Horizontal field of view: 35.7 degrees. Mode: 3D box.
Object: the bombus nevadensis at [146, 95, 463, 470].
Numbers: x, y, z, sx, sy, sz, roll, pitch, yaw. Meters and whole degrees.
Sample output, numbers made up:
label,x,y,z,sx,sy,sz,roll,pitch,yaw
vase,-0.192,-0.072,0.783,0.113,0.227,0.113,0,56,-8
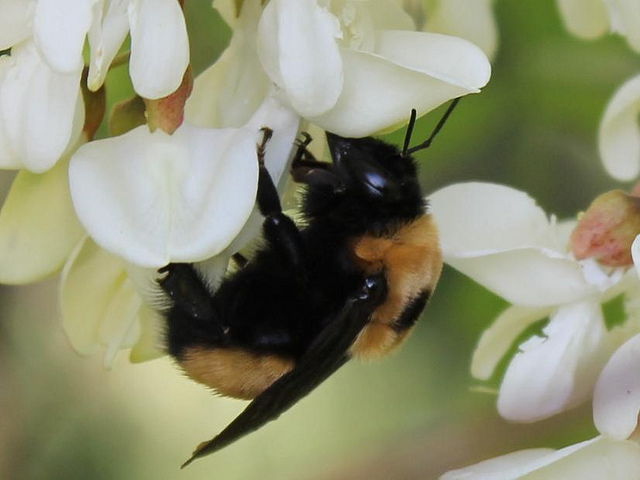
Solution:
label,x,y,z,sx,sy,sz,roll,pitch,yaw
bombus nevadensis,-0.019,0.019,0.510,0.056,0.172,0.107,31,3,28
